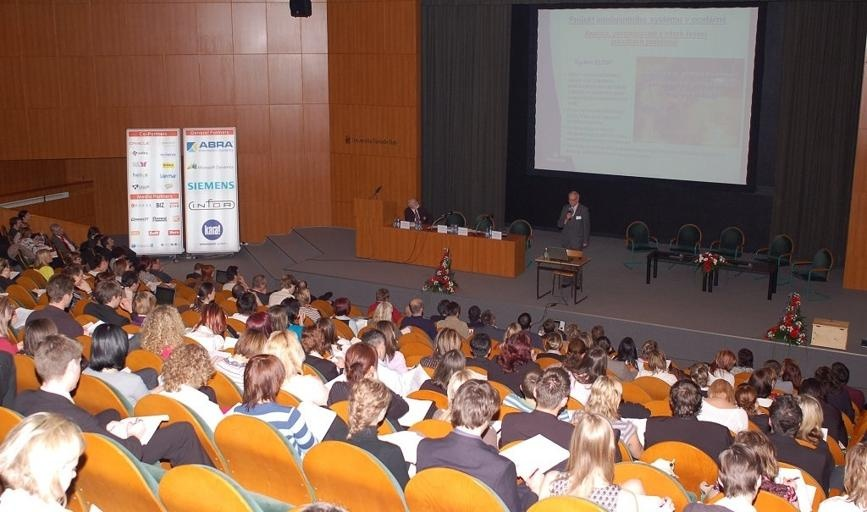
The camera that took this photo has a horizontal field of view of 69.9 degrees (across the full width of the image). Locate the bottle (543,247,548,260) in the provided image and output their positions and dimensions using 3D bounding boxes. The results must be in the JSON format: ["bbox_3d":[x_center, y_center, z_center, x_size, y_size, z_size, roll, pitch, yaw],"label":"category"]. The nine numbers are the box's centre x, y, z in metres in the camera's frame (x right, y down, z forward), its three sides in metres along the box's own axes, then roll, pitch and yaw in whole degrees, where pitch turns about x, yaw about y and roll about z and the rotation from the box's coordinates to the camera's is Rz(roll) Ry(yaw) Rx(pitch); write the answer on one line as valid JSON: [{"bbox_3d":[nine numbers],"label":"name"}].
[{"bbox_3d":[2.150,-0.051,11.877,0.064,0.228,0.120,-3,5,-38],"label":"bottle"}]

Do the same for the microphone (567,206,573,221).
[{"bbox_3d":[2.766,-0.856,12.604,0.053,0.191,0.139,11,27,10],"label":"microphone"}]

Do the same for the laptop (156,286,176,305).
[{"bbox_3d":[-4.172,0.623,9.604,0.244,0.241,0.061,3,-3,22],"label":"laptop"}]

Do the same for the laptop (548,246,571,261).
[{"bbox_3d":[2.350,-0.037,11.820,0.353,0.258,0.263,10,25,30],"label":"laptop"}]
